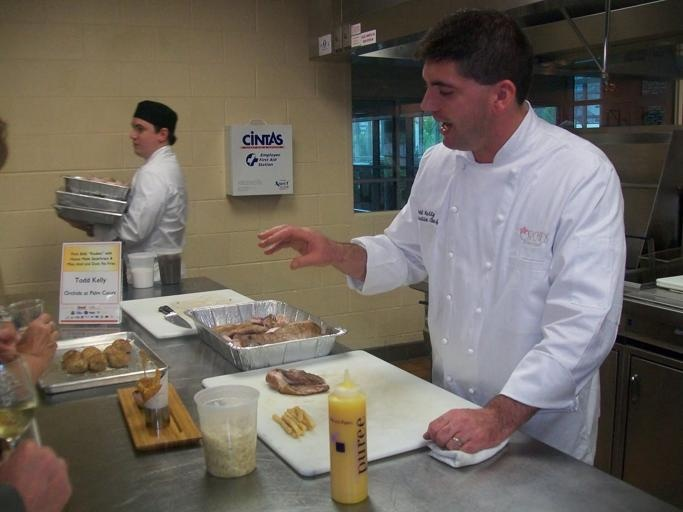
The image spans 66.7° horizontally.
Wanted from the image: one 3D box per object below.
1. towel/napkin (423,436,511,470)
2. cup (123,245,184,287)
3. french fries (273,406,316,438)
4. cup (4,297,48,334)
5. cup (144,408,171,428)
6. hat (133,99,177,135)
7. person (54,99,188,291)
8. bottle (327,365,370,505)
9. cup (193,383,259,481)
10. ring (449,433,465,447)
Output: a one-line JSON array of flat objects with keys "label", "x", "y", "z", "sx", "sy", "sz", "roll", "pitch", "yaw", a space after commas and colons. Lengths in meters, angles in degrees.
[{"label": "towel/napkin", "x": 0.298, "y": 0.430, "z": 1.149, "sx": 0.201, "sy": 0.039, "sz": 0.085, "roll": -3, "pitch": 13, "yaw": -10}, {"label": "cup", "x": -1.002, "y": 0.053, "z": 2.751, "sx": 0.274, "sy": 0.175, "sz": 0.196, "roll": -1, "pitch": 1, "yaw": -19}, {"label": "french fries", "x": -0.119, "y": 0.398, "z": 1.266, "sx": 0.067, "sy": 0.039, "sz": 0.128, "roll": -10, "pitch": 16, "yaw": -33}, {"label": "cup", "x": -1.083, "y": 0.203, "z": 1.810, "sx": 0.126, "sy": 0.131, "sz": 0.154, "roll": -1, "pitch": -2, "yaw": -1}, {"label": "cup", "x": -0.443, "y": 0.392, "z": 1.244, "sx": 0.050, "sy": 0.039, "sz": 0.052, "roll": 0, "pitch": -1, "yaw": 0}, {"label": "hat", "x": -1.266, "y": -0.960, "z": 3.441, "sx": 0.185, "sy": 0.116, "sz": 0.188, "roll": 21, "pitch": 16, "yaw": 14}, {"label": "person", "x": -1.408, "y": -0.327, "z": 3.468, "sx": 0.721, "sy": 1.364, "sz": 0.637, "roll": 3, "pitch": 28, "yaw": -7}, {"label": "bottle", "x": 0.012, "y": 0.343, "z": 0.998, "sx": 0.076, "sy": 0.275, "sz": 0.074, "roll": -1, "pitch": 13, "yaw": 0}, {"label": "cup", "x": -0.233, "y": 0.373, "z": 1.170, "sx": 0.166, "sy": 0.180, "sz": 0.167, "roll": -1, "pitch": 2, "yaw": 0}, {"label": "ring", "x": 0.250, "y": 0.406, "z": 1.127, "sx": 0.023, "sy": 0.024, "sz": 0.007, "roll": 5, "pitch": -4, "yaw": 22}]
